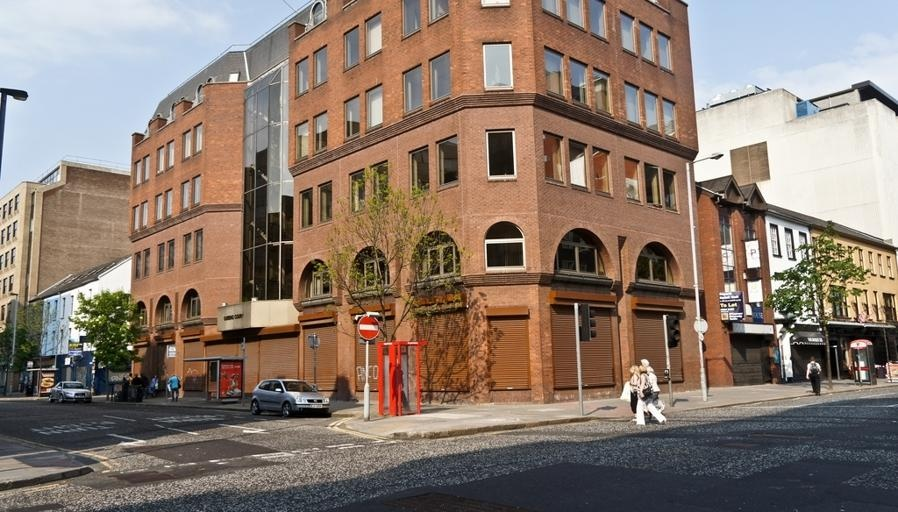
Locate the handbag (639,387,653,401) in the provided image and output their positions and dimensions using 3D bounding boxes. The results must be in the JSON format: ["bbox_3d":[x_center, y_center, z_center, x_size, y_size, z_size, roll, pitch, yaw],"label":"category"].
[{"bbox_3d":[9.749,6.752,34.369,0.686,0.622,0.358,-6,-16,14],"label":"handbag"}]

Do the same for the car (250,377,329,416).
[{"bbox_3d":[-9.605,8.512,42.252,4.973,2.304,1.626,-12,-18,32],"label":"car"}]

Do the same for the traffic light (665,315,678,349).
[{"bbox_3d":[12.904,4.239,40.370,0.703,1.745,0.652,-6,-16,15],"label":"traffic light"}]
